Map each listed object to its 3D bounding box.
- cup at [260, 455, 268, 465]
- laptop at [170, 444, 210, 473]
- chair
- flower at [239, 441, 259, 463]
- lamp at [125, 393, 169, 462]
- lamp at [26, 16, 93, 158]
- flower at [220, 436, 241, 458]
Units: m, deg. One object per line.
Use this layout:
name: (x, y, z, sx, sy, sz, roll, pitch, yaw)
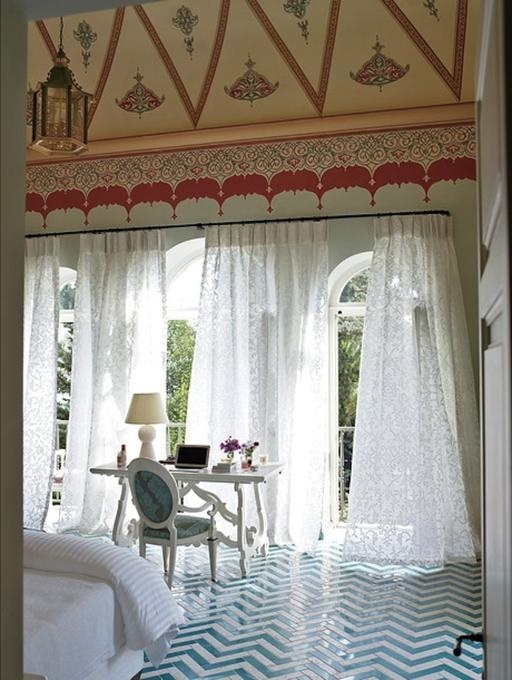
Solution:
cup: (0.063, 1.022, 4.781, 0.066, 0.078, 0.071, 0, -1, 0)
laptop: (-0.544, 0.977, 4.680, 0.273, 0.206, 0.175, 0, -11, 14)
chair: (-0.621, 1.333, 4.172, 0.534, 0.998, 0.598, -1, -1, 22)
flower: (-0.078, 0.943, 4.751, 0.205, 0.256, 0.188, 2, -5, -9)
lamp: (-0.958, 0.761, 4.878, 0.347, 0.630, 0.378, -3, -3, 36)
lamp: (-0.944, -1.197, 2.712, 0.280, 0.599, 0.337, 1, -4, -14)
flower: (-0.211, 0.926, 4.796, 0.167, 0.209, 0.516, 0, -4, -2)
